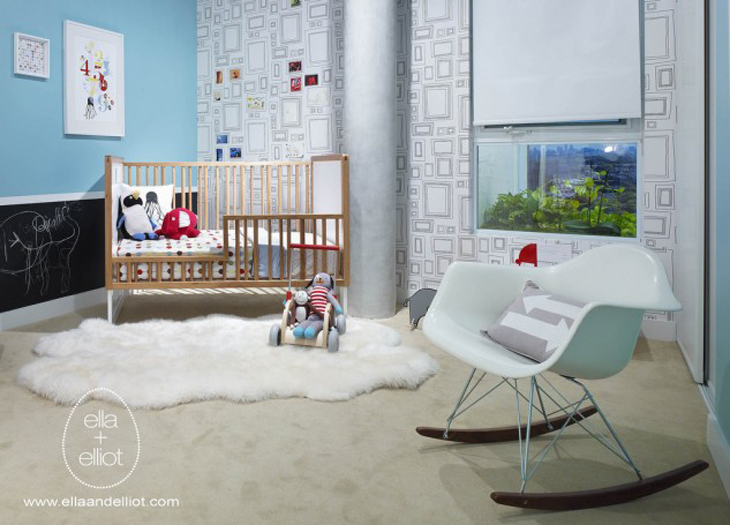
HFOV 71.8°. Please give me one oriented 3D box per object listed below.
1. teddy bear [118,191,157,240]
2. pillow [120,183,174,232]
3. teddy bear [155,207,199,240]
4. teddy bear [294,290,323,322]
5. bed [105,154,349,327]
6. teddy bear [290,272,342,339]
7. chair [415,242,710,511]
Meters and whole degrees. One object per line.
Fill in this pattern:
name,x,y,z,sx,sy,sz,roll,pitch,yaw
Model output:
teddy bear,-1.696,-0.323,3.734,0.308,0.379,0.314,-3,-2,29
pillow,-1.642,-0.443,3.963,0.101,0.355,0.345,-8,-7,40
teddy bear,-1.449,-0.308,3.924,0.222,0.185,0.265,1,-8,-6
teddy bear,-0.356,0.279,3.194,0.182,0.360,0.137,0,-3,-4
bed,-0.957,-0.171,4.055,1.743,1.136,1.193,0,2,-2
teddy bear,-0.310,0.259,3.223,0.322,0.383,0.422,-7,0,22
chair,0.762,0.404,2.263,1.002,1.035,1.003,0,3,-24
